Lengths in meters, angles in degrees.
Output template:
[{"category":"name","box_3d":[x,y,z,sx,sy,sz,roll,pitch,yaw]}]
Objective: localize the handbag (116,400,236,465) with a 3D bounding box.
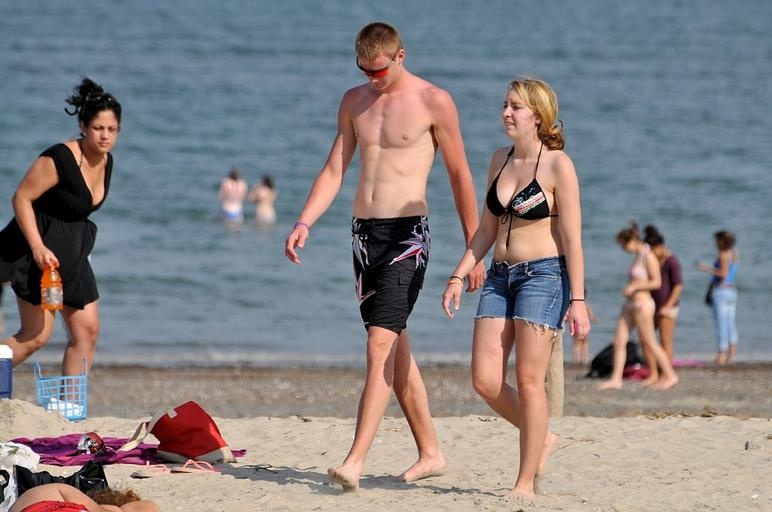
[{"category":"handbag","box_3d":[-4.080,3.620,35.149,1.666,1.213,0.511,-2,8,-9]}]

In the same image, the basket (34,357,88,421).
[{"category":"basket","box_3d":[-7.064,2.808,36.774,1.089,1.279,1.080,2,-4,-4]}]

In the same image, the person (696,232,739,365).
[{"category":"person","box_3d":[8.058,0.928,41.170,0.726,3.229,1.072,0,8,11]}]
